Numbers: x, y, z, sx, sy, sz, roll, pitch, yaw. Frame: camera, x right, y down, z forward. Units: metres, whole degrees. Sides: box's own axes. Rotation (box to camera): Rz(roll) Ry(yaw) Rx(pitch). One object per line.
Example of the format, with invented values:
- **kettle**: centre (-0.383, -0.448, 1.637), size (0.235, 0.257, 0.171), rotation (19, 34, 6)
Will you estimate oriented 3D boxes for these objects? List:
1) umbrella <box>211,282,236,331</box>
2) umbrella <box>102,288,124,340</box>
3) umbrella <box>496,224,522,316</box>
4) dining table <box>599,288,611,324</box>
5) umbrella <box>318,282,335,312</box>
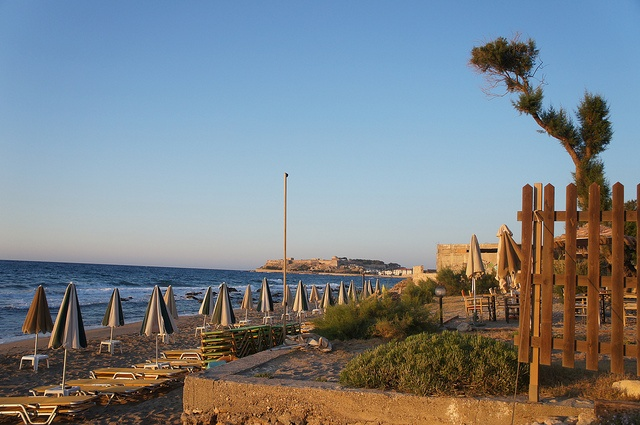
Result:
- **umbrella**: centre (-3.498, 3.493, 22.514), size (1.198, 2.071, 1.015), rotation (-1, -2, -20)
- **umbrella**: centre (-7.328, 3.352, 21.991), size (0.705, 1.337, 0.607), rotation (-10, -13, 40)
- **umbrella**: centre (5.363, 1.179, 17.539), size (0.654, 1.934, 2.023), rotation (-5, -11, 18)
- **dining table**: centre (9.283, 2.999, 20.108), size (0.353, 1.192, 2.515), rotation (-6, -11, 24)
- **umbrella**: centre (0.374, 4.186, 30.539), size (0.845, 1.816, 1.023), rotation (0, -4, -4)
